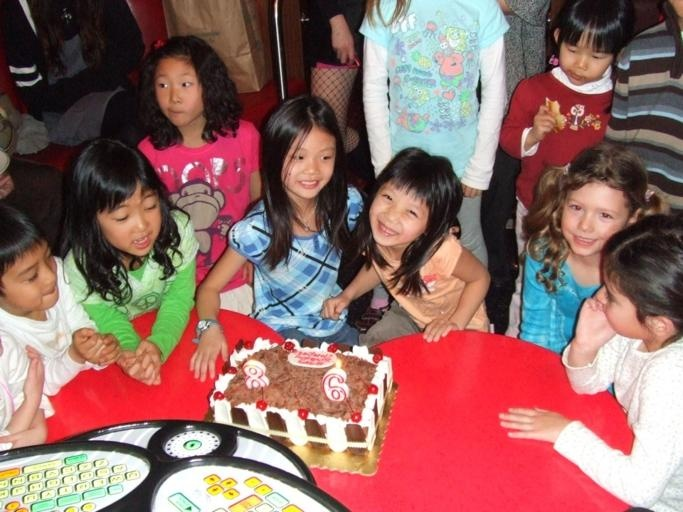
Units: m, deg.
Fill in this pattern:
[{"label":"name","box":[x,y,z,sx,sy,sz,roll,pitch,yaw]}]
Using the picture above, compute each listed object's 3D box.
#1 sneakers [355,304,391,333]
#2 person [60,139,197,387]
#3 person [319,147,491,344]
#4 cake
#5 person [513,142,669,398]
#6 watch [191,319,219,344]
[{"label":"sneakers","box":[0.196,0.391,3.410,0.201,0.072,0.163,-44,26,-25]},{"label":"person","box":[-0.827,0.074,2.212,0.444,0.888,0.814,-11,25,-40]},{"label":"person","box":[0.275,0.042,2.537,0.705,0.998,0.598,-3,24,6]},{"label":"cake","box":[-0.109,0.485,1.791,0.438,0.146,0.355,10,39,11]},{"label":"person","box":[1.089,0.061,2.460,0.306,0.973,0.601,6,12,-36]},{"label":"watch","box":[-0.535,0.287,2.128,0.100,0.107,0.064,21,-10,-39]}]
